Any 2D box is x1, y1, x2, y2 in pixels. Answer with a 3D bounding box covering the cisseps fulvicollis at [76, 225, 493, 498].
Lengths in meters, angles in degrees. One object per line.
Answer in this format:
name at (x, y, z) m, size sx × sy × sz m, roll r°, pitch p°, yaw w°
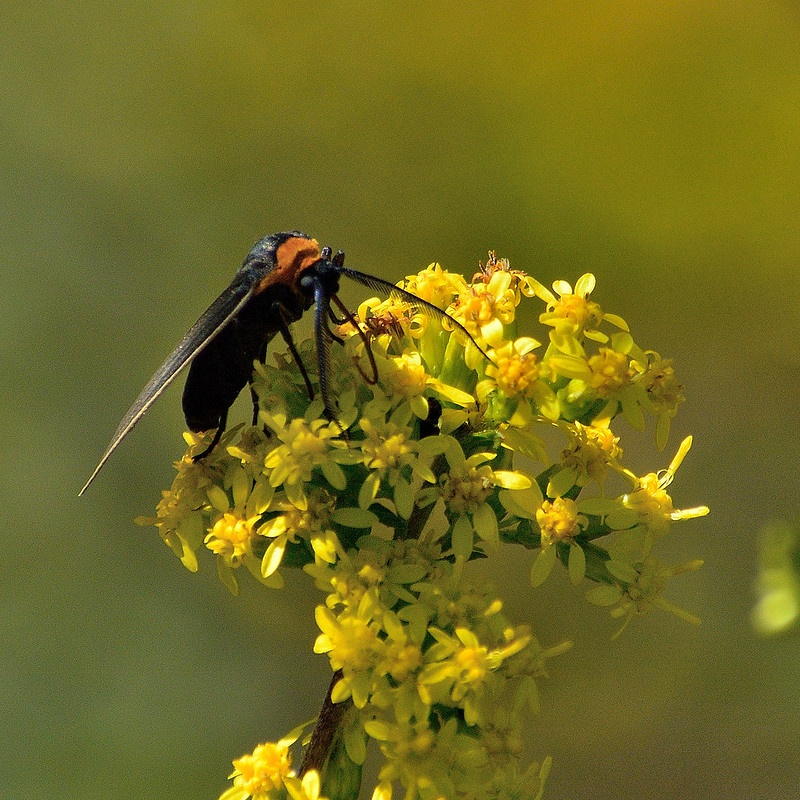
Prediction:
cisseps fulvicollis at (-0.134, -0.024, 1.321) m, size 0.309 × 0.316 × 0.138 m, roll -18°, pitch 90°, yaw 7°
